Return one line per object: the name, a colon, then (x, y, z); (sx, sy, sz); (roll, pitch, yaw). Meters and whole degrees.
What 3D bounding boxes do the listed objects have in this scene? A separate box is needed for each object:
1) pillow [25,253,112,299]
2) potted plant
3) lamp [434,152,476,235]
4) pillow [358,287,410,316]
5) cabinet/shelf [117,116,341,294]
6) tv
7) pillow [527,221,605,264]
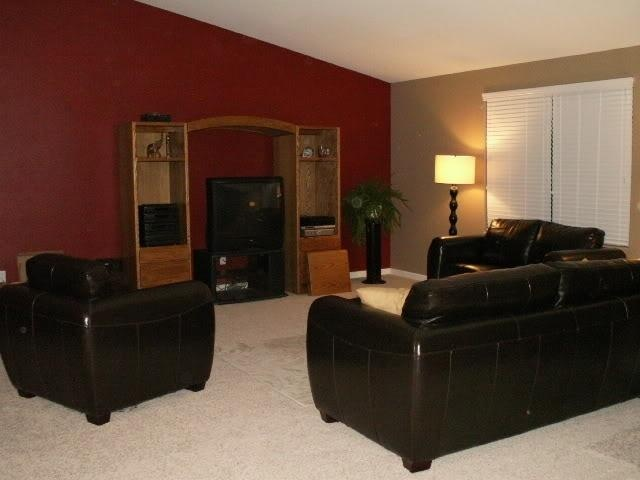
pillow: (-1.686, 0.227, 3.477); (0.688, 0.241, 0.184); (5, 10, 31)
potted plant: (0.801, -0.122, 7.502); (0.620, 1.425, 0.868); (7, 11, 40)
lamp: (1.750, -0.588, 6.768); (0.492, 1.032, 0.653); (2, 9, 15)
pillow: (0.386, 0.344, 3.078); (0.225, 0.075, 0.163); (6, 9, 44)
cabinet/shelf: (-1.169, -0.395, 6.352); (2.331, 1.943, 0.535); (-2, 7, -19)
tv: (-0.943, -0.312, 6.399); (0.939, 0.845, 0.331); (-2, 7, -26)
pillow: (2.575, 0.064, 5.463); (0.363, 0.428, 0.876); (-3, 9, -19)
